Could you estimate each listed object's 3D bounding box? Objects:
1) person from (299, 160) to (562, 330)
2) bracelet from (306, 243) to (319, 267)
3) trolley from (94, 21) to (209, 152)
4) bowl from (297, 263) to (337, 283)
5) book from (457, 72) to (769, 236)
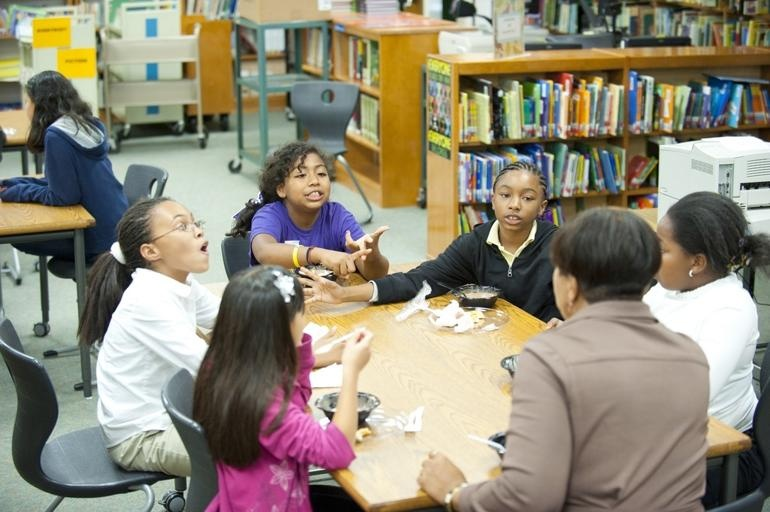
[{"bbox_3d":[0.268,-0.068,3.437,1.133,0.422,0.450,10,13,23],"label":"person"},{"bbox_3d":[-0.339,0.000,3.054,0.030,0.085,0.061,-2,15,2],"label":"bracelet"},{"bbox_3d":[-2.871,-2.191,8.034,1.538,1.609,1.260,-3,28,-6],"label":"trolley"},{"bbox_3d":[-0.308,0.071,3.013,0.118,0.031,0.094,12,18,-12],"label":"bowl"},{"bbox_3d":[1.409,-0.710,4.130,1.361,0.804,0.187,-3,7,-13],"label":"book"}]
